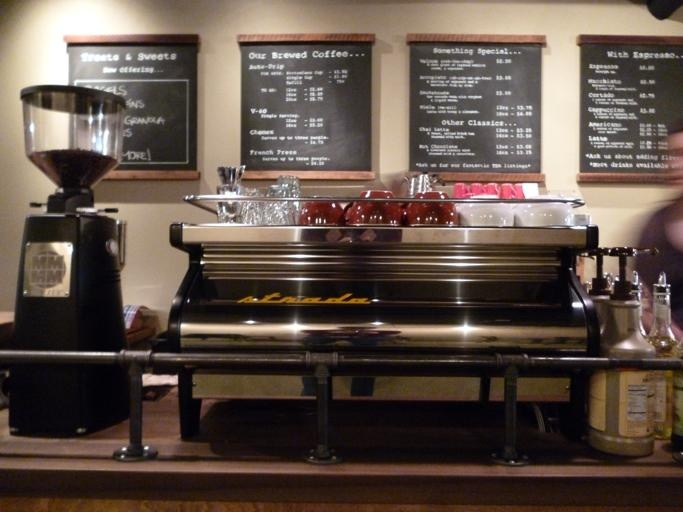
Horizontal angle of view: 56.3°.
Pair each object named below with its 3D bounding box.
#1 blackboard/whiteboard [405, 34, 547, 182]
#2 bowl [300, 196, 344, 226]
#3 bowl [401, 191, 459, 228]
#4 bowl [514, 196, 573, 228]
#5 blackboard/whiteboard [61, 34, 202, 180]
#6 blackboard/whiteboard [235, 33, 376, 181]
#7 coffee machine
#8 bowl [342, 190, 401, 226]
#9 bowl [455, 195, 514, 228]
[{"bbox_3d":[0.707,-0.778,3.326,0.879,0.850,0.065,0,3,3],"label":"blackboard/whiteboard"},{"bbox_3d":[-0.069,-0.155,2.169,0.151,0.086,0.127,0,16,0],"label":"bowl"},{"bbox_3d":[0.304,-0.154,2.122,0.180,0.115,0.261,1,16,5],"label":"bowl"},{"bbox_3d":[0.664,-0.132,2.137,0.128,0.082,0.125,0,-2,0],"label":"bowl"},{"bbox_3d":[-0.972,-0.710,3.027,0.890,0.930,0.073,1,3,1],"label":"blackboard/whiteboard"},{"bbox_3d":[-0.160,-0.793,3.334,0.871,0.841,0.060,2,2,-1],"label":"blackboard/whiteboard"},{"bbox_3d":[-0.930,-0.012,2.186,0.408,1.102,0.571,-3,16,-10],"label":"coffee machine"},{"bbox_3d":[0.110,-0.145,2.203,0.203,0.137,0.157,0,6,26],"label":"bowl"},{"bbox_3d":[0.482,-0.153,2.108,0.198,0.110,0.230,1,16,5],"label":"bowl"}]
